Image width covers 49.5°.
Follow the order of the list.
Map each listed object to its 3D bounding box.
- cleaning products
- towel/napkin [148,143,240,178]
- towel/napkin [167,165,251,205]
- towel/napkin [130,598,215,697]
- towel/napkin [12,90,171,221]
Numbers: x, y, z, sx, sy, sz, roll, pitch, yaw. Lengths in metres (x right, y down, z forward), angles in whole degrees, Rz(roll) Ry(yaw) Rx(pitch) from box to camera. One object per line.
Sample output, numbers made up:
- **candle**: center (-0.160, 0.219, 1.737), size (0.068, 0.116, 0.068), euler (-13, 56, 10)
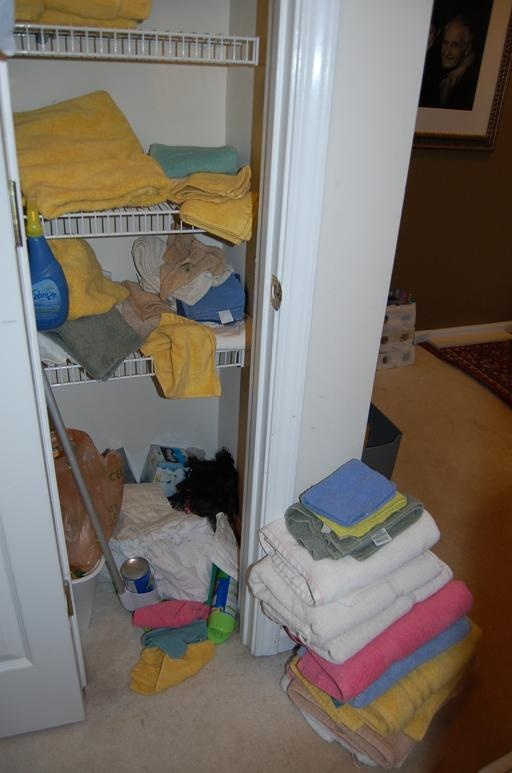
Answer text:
- **cleaning products**: center (-0.444, -0.237, 1.184), size (0.074, 0.312, 0.110), euler (-6, 30, -18)
- **towel/napkin**: center (-0.146, -0.573, 1.403), size (0.154, 0.055, 0.164), euler (-18, 36, -24)
- **towel/napkin**: center (-0.103, -0.464, 1.289), size (0.119, 0.046, 0.129), euler (-16, 29, -22)
- **towel/napkin**: center (-0.238, 0.727, 1.573), size (0.235, 0.055, 0.263), euler (-3, 31, -12)
- **towel/napkin**: center (-0.398, -0.509, 1.205), size (0.316, 0.100, 0.329), euler (-19, 57, -32)
